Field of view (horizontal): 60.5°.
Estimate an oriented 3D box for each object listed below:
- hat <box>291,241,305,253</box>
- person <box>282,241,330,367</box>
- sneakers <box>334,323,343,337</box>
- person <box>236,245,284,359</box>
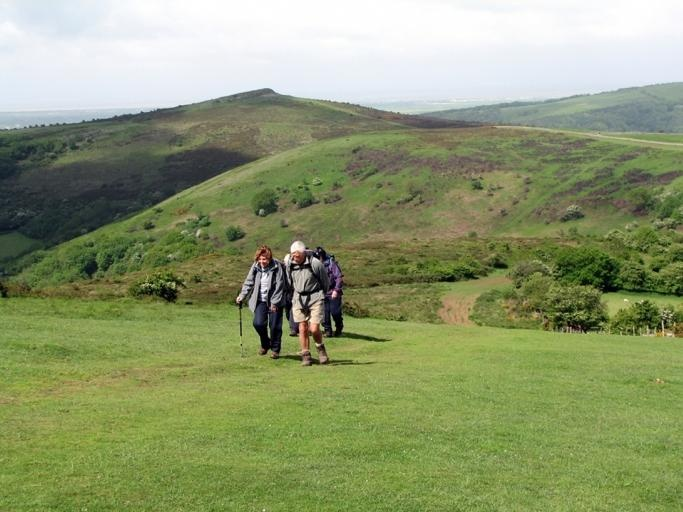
[{"bbox_3d":[-1.220,-0.238,16.376,0.328,0.316,0.338,0,7,-13],"label":"hat"},{"bbox_3d":[-0.986,1.366,16.717,1.253,3.572,0.683,2,9,-3],"label":"person"},{"bbox_3d":[-0.118,2.844,22.568,0.253,0.505,0.254,5,12,2],"label":"sneakers"},{"bbox_3d":[-2.267,1.382,17.195,1.222,3.407,0.834,1,9,-9],"label":"person"}]
